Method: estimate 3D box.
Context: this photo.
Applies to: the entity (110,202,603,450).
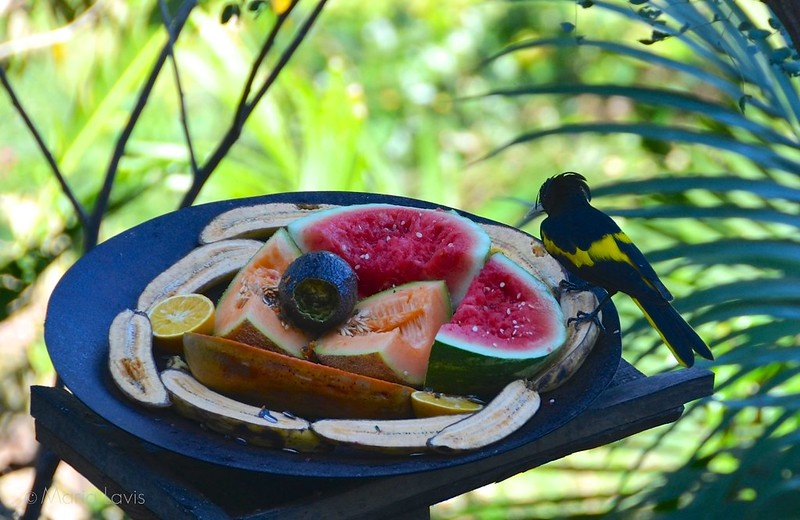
[{"bbox_3d":[-0.147,0.287,3.858,1.351,0.384,0.945,5,30,1],"label":"entity"}]
